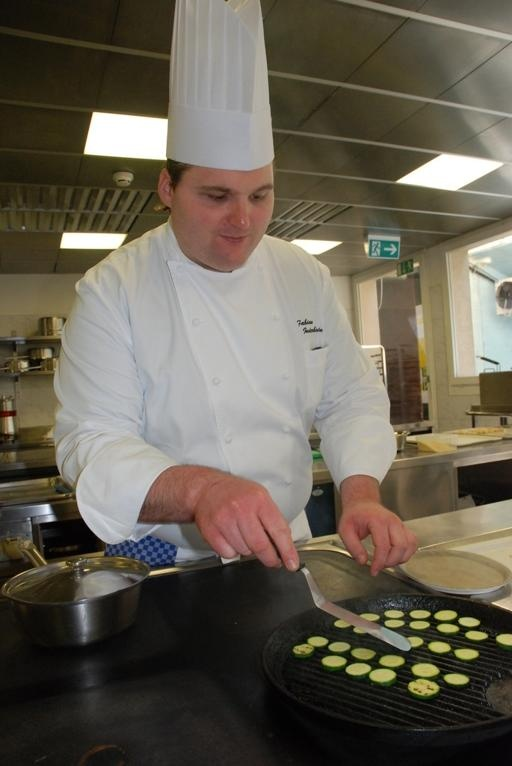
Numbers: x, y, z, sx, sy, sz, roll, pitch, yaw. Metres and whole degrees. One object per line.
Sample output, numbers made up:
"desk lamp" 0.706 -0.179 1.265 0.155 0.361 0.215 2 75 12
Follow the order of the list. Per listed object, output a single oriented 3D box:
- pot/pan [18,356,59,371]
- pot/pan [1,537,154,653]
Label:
"pot/pan" -1.959 -0.174 5.315 0.288 0.116 0.278 0 2 -16
"pot/pan" -0.254 0.301 0.801 0.176 0.117 0.150 -3 -1 25
